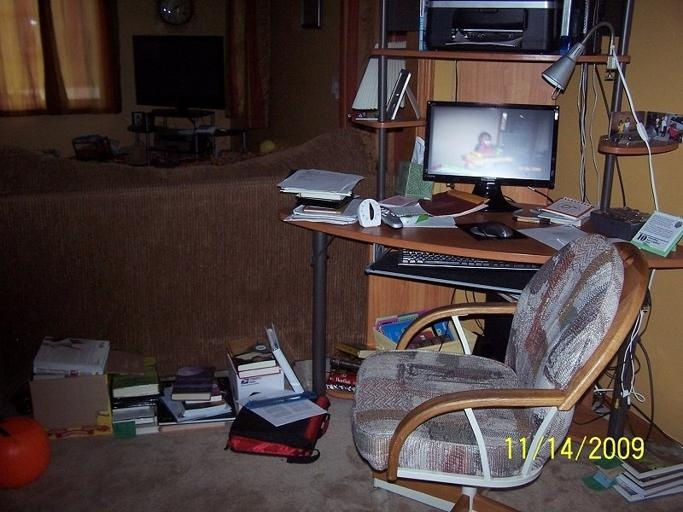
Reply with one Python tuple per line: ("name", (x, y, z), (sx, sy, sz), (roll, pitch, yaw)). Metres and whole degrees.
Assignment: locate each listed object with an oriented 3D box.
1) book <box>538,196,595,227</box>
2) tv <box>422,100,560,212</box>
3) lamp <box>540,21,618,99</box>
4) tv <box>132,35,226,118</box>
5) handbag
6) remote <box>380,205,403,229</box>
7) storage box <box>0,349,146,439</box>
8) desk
("book", (1.017, -0.207, 2.543), (0.164, 0.049, 0.162), (23, 39, 35))
("tv", (0.716, -0.485, 2.744), (0.665, 0.509, 0.189), (2, 12, -2))
("lamp", (0.997, -0.842, 2.335), (0.283, 0.267, 0.159), (-13, 22, -31))
("tv", (-2.040, -2.287, 6.976), (1.327, 0.930, 0.133), (0, 14, 3))
("handbag", (-0.291, 0.788, 2.671), (0.512, 0.110, 0.550), (-2, 16, -6))
("remote", (0.216, -0.169, 2.472), (0.047, 0.046, 0.144), (-19, 25, -14))
("storage box", (-1.174, 0.646, 2.565), (0.401, 0.257, 0.388), (-1, 5, -17))
("desk", (0.514, 0.311, 2.835), (1.957, 0.936, 1.006), (11, 17, 29))
